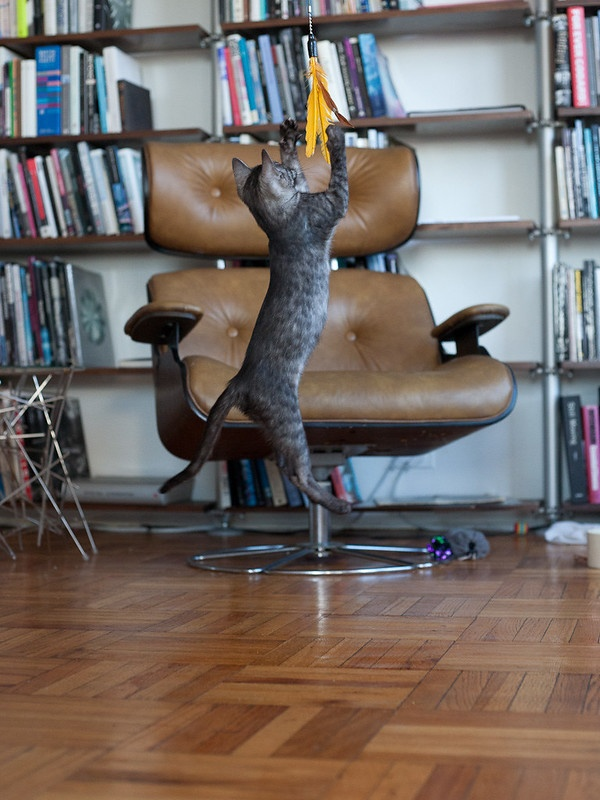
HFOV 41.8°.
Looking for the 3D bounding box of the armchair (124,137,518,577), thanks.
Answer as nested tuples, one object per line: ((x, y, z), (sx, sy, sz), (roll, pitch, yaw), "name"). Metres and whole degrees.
((0.031, -0.158, 1.842), (0.846, 0.872, 0.851), (-2, 11, -8), "armchair")

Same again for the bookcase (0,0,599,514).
((0.051, -0.423, 2.159), (2.057, 1.565, 0.611), (-1, -3, 4), "bookcase")
